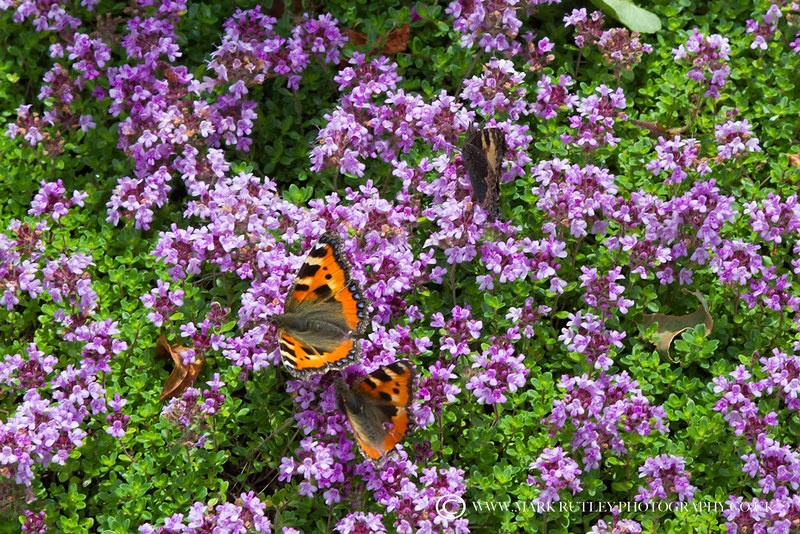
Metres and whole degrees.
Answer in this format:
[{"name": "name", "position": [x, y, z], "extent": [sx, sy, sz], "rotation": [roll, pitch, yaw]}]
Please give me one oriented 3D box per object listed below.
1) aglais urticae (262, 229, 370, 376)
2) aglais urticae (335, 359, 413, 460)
[{"name": "aglais urticae", "position": [-0.562, 0.288, 6.057], "extent": [0.666, 0.254, 0.864], "rotation": [-24, 85, -5]}, {"name": "aglais urticae", "position": [-0.098, 0.923, 6.050], "extent": [0.563, 0.304, 0.608], "rotation": [-21, 93, 22]}]
